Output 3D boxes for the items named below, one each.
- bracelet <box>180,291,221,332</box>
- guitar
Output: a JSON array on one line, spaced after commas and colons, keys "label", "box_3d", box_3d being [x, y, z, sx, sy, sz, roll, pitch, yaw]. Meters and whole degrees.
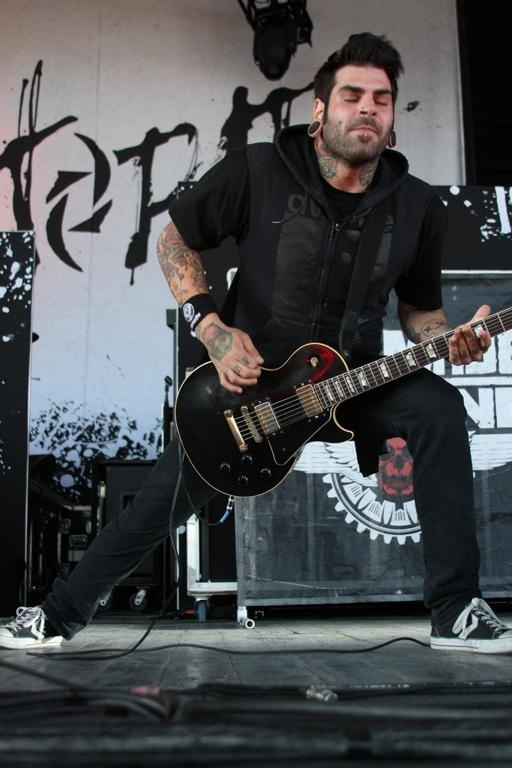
[{"label": "bracelet", "box_3d": [-0.126, -0.180, 1.899, 0.098, 0.073, 0.097, -20, 5, 1]}, {"label": "guitar", "box_3d": [0.229, 0.070, 2.047, 0.811, 0.257, 0.084, -19, 8, -4]}]
